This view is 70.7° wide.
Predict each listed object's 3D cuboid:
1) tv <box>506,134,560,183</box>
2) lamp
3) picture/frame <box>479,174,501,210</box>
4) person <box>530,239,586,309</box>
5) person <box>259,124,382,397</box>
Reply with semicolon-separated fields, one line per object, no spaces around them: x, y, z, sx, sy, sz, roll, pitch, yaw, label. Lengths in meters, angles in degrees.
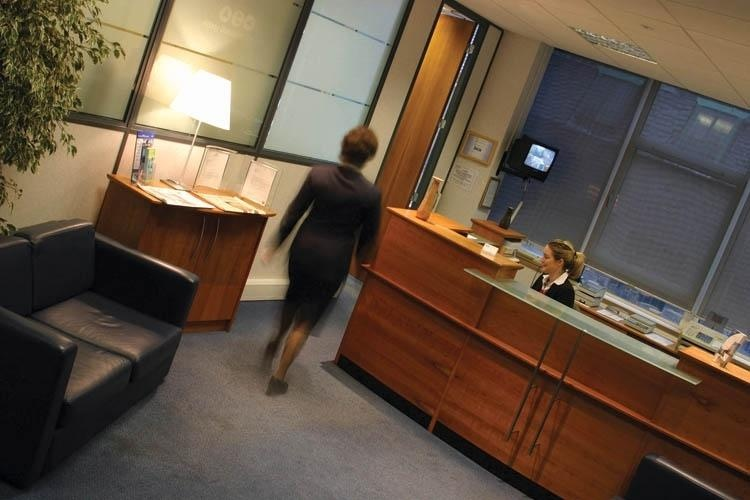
2.661;-1.369;8.268;0.323;0.479;0.590;8;24;-40;tv
-1.702;-1.159;5.116;0.527;1.122;0.565;12;16;-19;lamp
1.857;-0.971;8.562;0.049;0.522;0.420;28;40;24;picture/frame
2.004;0.303;5.714;0.390;0.734;0.783;9;9;3;person
-0.545;0.124;4.849;0.877;2.568;0.413;7;18;-31;person
